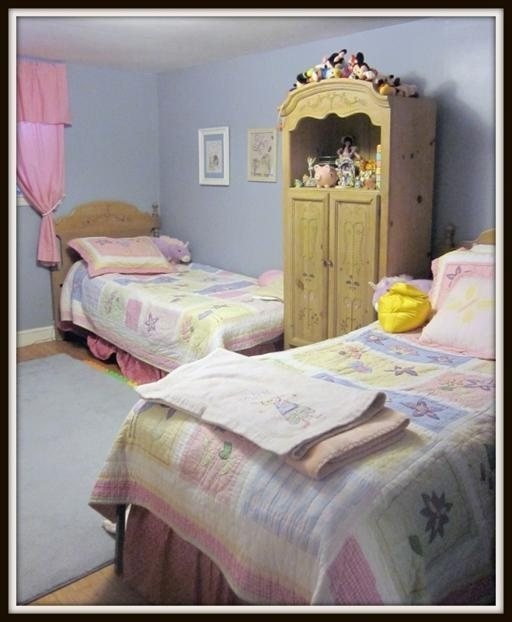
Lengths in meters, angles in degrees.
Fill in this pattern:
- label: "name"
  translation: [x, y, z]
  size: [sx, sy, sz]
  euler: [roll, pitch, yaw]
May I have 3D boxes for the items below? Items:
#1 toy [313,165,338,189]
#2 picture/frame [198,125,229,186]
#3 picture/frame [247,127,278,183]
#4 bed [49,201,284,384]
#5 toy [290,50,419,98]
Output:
- label: "toy"
  translation: [0.431, -0.804, 3.314]
  size: [0.168, 0.151, 0.156]
  euler: [-1, 7, 9]
- label: "picture/frame"
  translation: [-0.369, -1.345, 4.736]
  size: [0.108, 0.502, 0.396]
  euler: [-13, 16, -33]
- label: "picture/frame"
  translation: [0.060, -1.243, 4.268]
  size: [0.025, 0.483, 0.440]
  euler: [-11, 17, -43]
- label: "bed"
  translation: [-0.751, -0.253, 4.721]
  size: [1.591, 1.239, 1.351]
  euler: [13, 15, 26]
- label: "toy"
  translation: [0.533, -1.347, 3.088]
  size: [0.634, 0.243, 0.454]
  euler: [15, 19, 34]
